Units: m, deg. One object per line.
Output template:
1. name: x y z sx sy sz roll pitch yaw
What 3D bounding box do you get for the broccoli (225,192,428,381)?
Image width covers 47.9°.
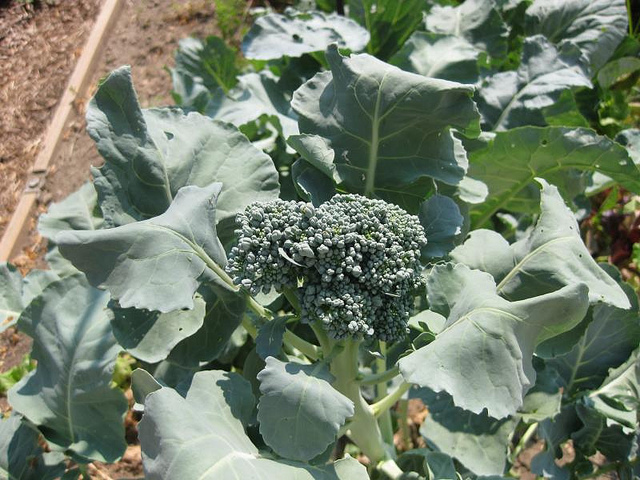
1. broccoli: 0.027 -0.009 2.593 0.709 0.558 0.850 0 100 -8
